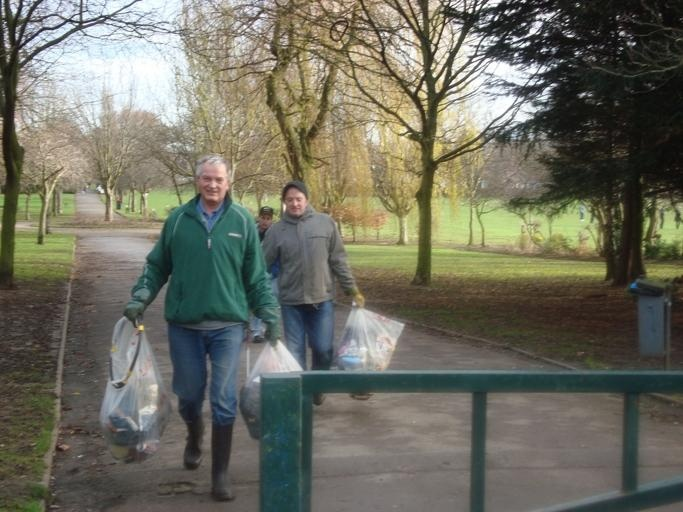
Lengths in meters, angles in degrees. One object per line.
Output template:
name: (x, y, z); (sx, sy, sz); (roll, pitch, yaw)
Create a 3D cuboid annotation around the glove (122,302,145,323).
glove: (-1.782, 0.485, 7.546); (0.172, 0.194, 0.209); (0, 1, -19)

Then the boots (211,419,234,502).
boots: (-1.021, 1.753, 7.499); (0.184, 0.639, 0.334); (0, 1, -8)
